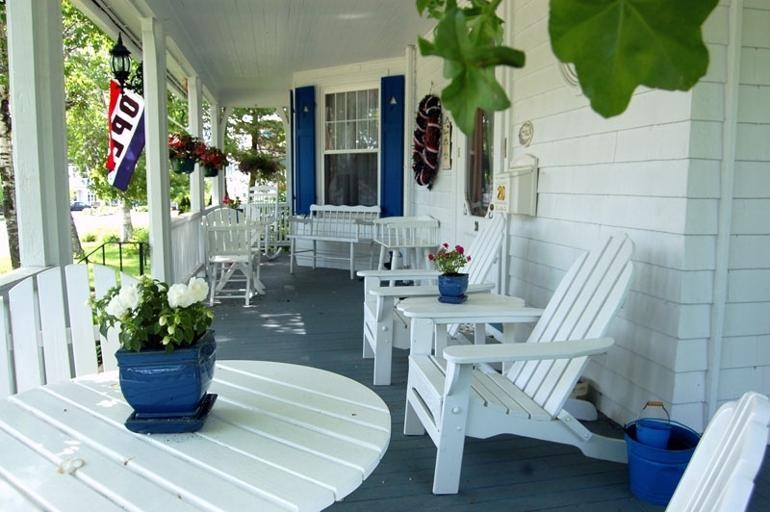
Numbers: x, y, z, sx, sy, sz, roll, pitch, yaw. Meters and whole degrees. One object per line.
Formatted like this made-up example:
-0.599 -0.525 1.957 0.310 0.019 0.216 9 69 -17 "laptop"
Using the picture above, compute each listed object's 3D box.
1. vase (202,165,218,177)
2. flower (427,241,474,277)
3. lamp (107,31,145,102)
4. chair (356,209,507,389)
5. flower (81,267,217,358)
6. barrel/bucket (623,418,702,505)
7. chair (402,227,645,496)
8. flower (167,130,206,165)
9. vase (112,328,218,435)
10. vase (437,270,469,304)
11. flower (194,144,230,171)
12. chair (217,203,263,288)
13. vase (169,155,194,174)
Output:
-2.269 -1.092 6.987 0.165 0.130 0.172 -4 5 -43 "vase"
0.454 0.009 3.677 0.288 0.211 0.293 -5 -20 -2 "flower"
-2.501 -1.874 5.228 0.268 0.585 0.992 -5 14 -23 "lamp"
0.337 0.249 4.359 1.297 1.393 1.001 -1 4 -11 "chair"
-0.870 0.190 1.977 0.432 0.244 0.255 7 14 25 "flower"
1.277 0.970 2.711 0.398 0.391 0.427 2 0 0 "barrel/bucket"
0.745 0.513 2.842 1.140 1.184 0.717 -3 13 -13 "chair"
-2.298 -1.240 6.338 0.365 0.277 0.371 14 11 17 "flower"
-0.800 0.471 2.022 0.322 0.303 0.305 -1 5 8 "vase"
0.432 0.200 3.425 0.196 0.240 0.178 -1 0 1 "vase"
-2.180 -1.207 6.542 0.326 0.241 0.335 1 0 23 "flower"
-1.749 -0.068 6.454 0.557 1.102 1.683 -3 13 -16 "chair"
-2.375 -1.063 6.339 0.192 0.129 0.196 -1 -1 -13 "vase"
